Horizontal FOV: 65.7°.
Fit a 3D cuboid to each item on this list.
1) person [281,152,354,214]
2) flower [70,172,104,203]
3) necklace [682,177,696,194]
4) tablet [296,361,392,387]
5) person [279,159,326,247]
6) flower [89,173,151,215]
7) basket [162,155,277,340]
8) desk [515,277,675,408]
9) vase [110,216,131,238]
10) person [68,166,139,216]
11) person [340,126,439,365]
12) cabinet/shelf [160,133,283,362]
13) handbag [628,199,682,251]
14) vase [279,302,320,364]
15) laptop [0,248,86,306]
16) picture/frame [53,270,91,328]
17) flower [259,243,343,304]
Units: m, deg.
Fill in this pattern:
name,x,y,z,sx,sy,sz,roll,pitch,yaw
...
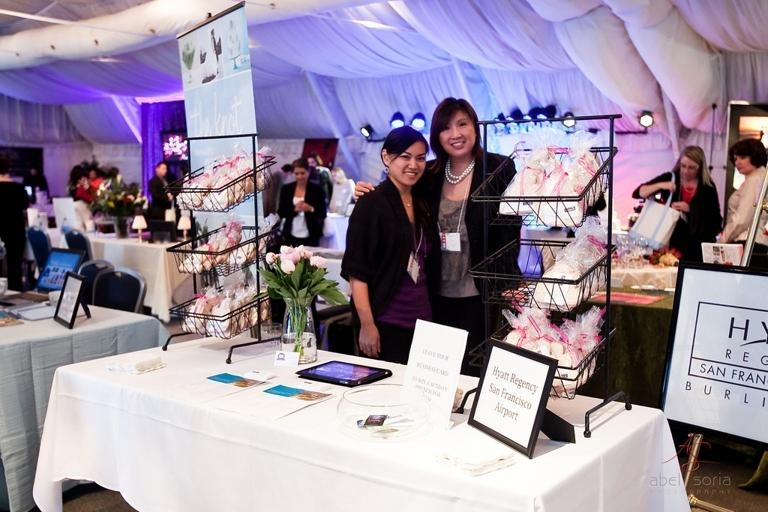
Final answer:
name,x,y,z,sx,sy,sz,roll,pitch,yaw
person,-1.081,-1.249,10.236,0.708,0.724,2.271,4,22,-14
flower,-3.772,-0.853,7.658,0.418,0.541,0.249,-5,-6,23
necklace,2.736,-0.636,5.341,0.104,0.090,0.112,-1,-4,32
tablet,-0.188,0.536,2.704,0.329,0.026,0.253,5,8,32
person,-1.036,-0.667,7.467,0.595,1.113,0.572,-3,8,-11
flower,-3.317,-0.741,7.564,0.561,0.676,0.603,2,7,11
basket,-0.863,-0.058,3.143,0.539,0.928,0.737,-5,8,-21
desk,1.399,0.500,3.913,0.739,0.831,0.742,3,4,41
vase,-3.209,-0.364,7.266,0.214,0.342,0.222,-4,9,-38
person,-3.557,-0.804,7.619,0.846,0.649,0.958,6,4,-27
person,0.016,-0.046,3.144,0.493,1.228,0.196,-3,8,-7
cabinet/shelf,-0.854,-0.033,3.000,0.476,1.076,0.397,4,-7,-6
handbag,2.206,-0.244,4.814,0.328,0.460,0.168,25,-3,24
vase,-0.415,0.368,2.915,0.155,0.286,0.161,-3,-3,38
laptop,-2.332,0.120,4.141,0.513,0.352,0.528,5,6,35
picture/frame,-1.926,0.265,3.645,0.213,0.300,0.200,16,22,37
flower,-0.396,0.094,2.903,0.400,0.304,0.204,-4,8,-12
